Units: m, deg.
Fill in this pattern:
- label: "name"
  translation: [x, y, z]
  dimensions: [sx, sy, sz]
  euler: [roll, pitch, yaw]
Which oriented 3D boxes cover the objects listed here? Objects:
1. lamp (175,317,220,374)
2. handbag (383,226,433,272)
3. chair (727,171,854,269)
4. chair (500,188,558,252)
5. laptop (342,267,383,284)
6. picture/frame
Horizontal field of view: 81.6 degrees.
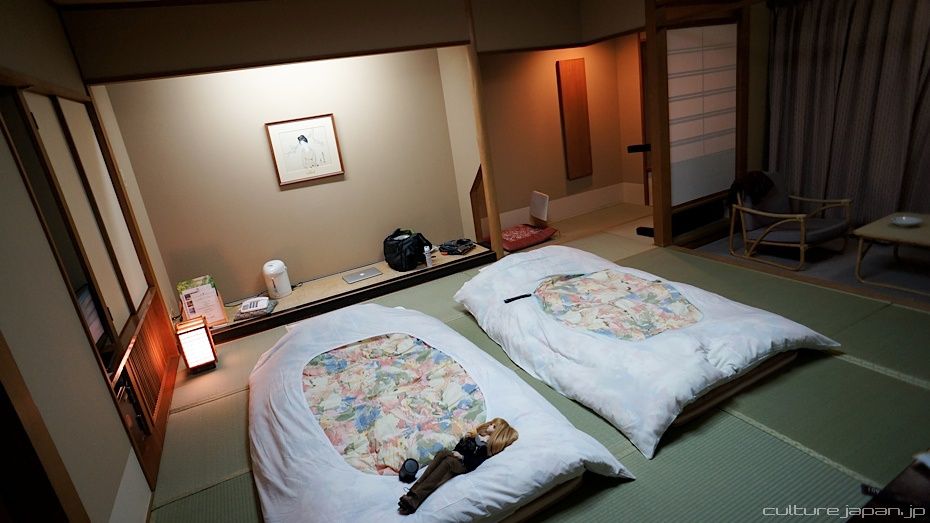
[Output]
- label: "lamp"
  translation: [-2.778, 0.861, 5.563]
  dimensions: [0.321, 0.538, 0.215]
  euler: [-18, 24, -18]
- label: "handbag"
  translation: [-0.782, -0.140, 6.930]
  dimensions: [0.588, 0.494, 0.433]
  euler: [13, 15, 26]
- label: "chair"
  translation: [3.799, -0.543, 6.343]
  dimensions: [0.940, 0.907, 1.031]
  euler: [-19, 24, -25]
- label: "chair"
  translation: [0.782, -0.582, 7.576]
  dimensions: [0.863, 0.615, 0.747]
  euler: [-15, 22, -14]
- label: "laptop"
  translation: [-1.302, 0.162, 6.780]
  dimensions: [0.469, 0.037, 0.377]
  euler: [-17, 22, -21]
- label: "picture/frame"
  translation: [-1.992, -1.363, 6.528]
  dimensions: [0.912, 0.786, 0.088]
  euler: [-17, 15, -14]
